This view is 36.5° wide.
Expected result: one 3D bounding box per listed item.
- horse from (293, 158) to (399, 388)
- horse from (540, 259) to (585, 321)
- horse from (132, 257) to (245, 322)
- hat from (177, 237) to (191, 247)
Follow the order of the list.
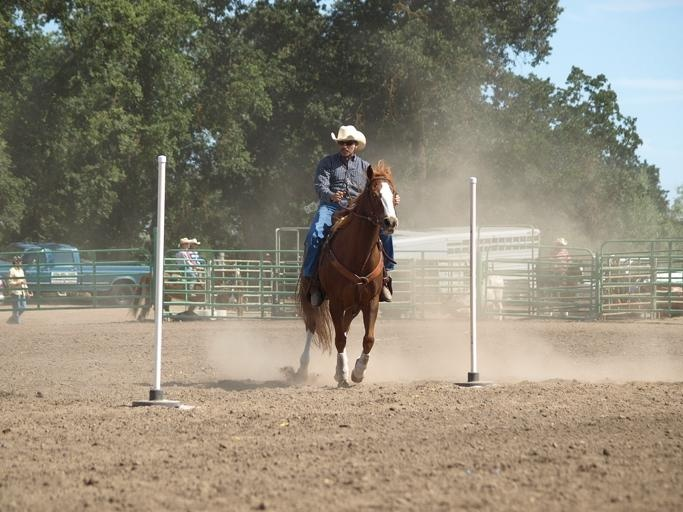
[{"bbox_3d":[0.207,0.442,23.603,2.556,5.184,1.131,9,13,42],"label":"horse"},{"bbox_3d":[7.377,1.144,33.880,1.696,2.549,1.626,0,-3,-13],"label":"horse"},{"bbox_3d":[-4.798,1.288,33.010,2.935,2.261,2.107,0,2,-11],"label":"horse"},{"bbox_3d":[-5.889,-0.506,38.826,0.534,0.165,0.584,-1,-4,0],"label":"hat"}]
